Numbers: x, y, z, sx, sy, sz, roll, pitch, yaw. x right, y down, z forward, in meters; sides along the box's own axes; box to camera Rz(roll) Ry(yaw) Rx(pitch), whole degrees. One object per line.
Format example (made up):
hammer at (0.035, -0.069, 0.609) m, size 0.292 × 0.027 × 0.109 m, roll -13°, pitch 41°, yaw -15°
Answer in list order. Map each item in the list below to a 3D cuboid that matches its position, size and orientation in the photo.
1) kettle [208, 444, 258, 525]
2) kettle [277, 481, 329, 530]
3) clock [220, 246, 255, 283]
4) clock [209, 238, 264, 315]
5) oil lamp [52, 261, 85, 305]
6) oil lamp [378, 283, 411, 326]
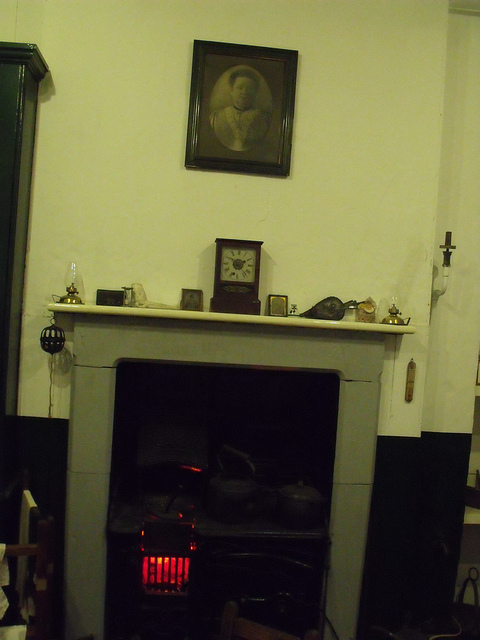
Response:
kettle at (-0.021, 0.666, 2.432) m, size 0.134 × 0.247 × 0.237 m, roll 6°, pitch -1°, yaw -19°
kettle at (0.219, 0.742, 2.419) m, size 0.217 × 0.182 × 0.156 m, roll 9°, pitch 5°, yaw 24°
clock at (-0.015, -0.211, 2.354) m, size 0.112 × 0.143 × 0.015 m, roll 0°, pitch -3°, yaw -6°
clock at (-0.019, -0.167, 2.357) m, size 0.213 × 0.428 × 0.147 m, roll 2°, pitch -11°, yaw -5°
oil lamp at (-0.634, -0.126, 2.334) m, size 0.133 × 0.189 × 0.151 m, roll 0°, pitch -4°, yaw 7°
oil lamp at (0.620, -0.065, 2.438) m, size 0.086 × 0.171 × 0.226 m, roll 5°, pitch 1°, yaw 16°
